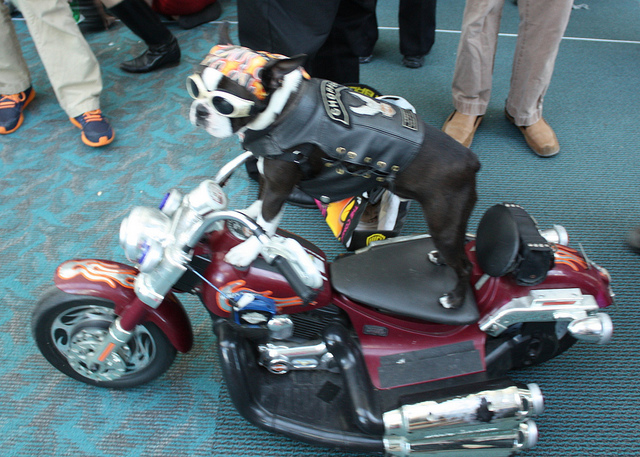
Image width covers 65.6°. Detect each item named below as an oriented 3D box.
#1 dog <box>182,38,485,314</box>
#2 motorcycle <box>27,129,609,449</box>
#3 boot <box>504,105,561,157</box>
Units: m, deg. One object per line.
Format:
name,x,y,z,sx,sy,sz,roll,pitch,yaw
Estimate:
dog,0.109,-0.194,1.847,1.213,0.604,0.464,23,31,31
motorcycle,0.077,0.334,1.946,2.677,0.946,0.878,2,60,0
boot,1.302,-0.606,3.070,0.381,0.164,0.132,43,104,18
